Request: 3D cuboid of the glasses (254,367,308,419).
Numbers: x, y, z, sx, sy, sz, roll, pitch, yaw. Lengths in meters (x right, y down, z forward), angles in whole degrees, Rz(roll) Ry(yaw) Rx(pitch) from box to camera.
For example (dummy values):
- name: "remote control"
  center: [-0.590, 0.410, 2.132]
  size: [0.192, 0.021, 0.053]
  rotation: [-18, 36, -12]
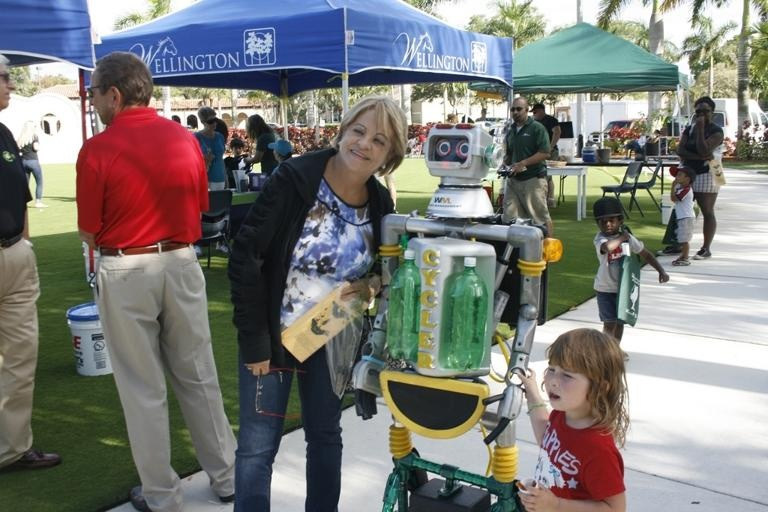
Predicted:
- name: "glasses"
  center: [-0.550, 0.724, 3.309]
  size: [0.223, 0.071, 0.240]
  rotation: [-1, 28, 7]

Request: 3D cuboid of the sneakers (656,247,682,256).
- name: "sneakers"
  center: [4.306, -0.080, 9.639]
  size: [0.358, 0.177, 0.140]
  rotation: [3, 9, 13]

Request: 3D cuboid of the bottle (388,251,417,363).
- name: "bottle"
  center: [0.077, 0.252, 3.216]
  size: [0.103, 0.589, 0.271]
  rotation: [-8, 12, -35]

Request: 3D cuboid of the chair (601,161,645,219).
- name: "chair"
  center: [4.947, -1.415, 13.285]
  size: [0.745, 1.124, 0.879]
  rotation: [-4, 12, -11]

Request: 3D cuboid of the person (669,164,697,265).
- name: "person"
  center: [4.224, -0.559, 9.008]
  size: [0.295, 1.349, 0.466]
  rotation: [4, 10, 26]

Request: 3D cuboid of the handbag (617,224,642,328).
- name: "handbag"
  center: [2.072, 0.233, 5.385]
  size: [0.172, 0.789, 0.390]
  rotation: [3, 10, 20]

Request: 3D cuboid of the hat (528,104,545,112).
- name: "hat"
  center: [2.918, -2.802, 12.136]
  size: [0.285, 0.165, 0.224]
  rotation: [15, 15, 26]

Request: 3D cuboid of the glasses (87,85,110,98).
- name: "glasses"
  center: [-1.746, -0.992, 3.862]
  size: [0.074, 0.065, 0.267]
  rotation: [-10, 14, -39]

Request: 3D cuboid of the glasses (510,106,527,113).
- name: "glasses"
  center: [2.005, -2.181, 9.537]
  size: [0.271, 0.092, 0.231]
  rotation: [6, 13, 33]

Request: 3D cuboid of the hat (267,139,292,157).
- name: "hat"
  center: [-1.519, -1.547, 9.196]
  size: [0.248, 0.199, 0.372]
  rotation: [-25, 46, -32]

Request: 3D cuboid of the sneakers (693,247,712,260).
- name: "sneakers"
  center: [4.690, -0.019, 9.319]
  size: [0.339, 0.173, 0.122]
  rotation: [-2, 5, 17]

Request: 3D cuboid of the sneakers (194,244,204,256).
- name: "sneakers"
  center: [-2.552, -0.081, 8.730]
  size: [0.161, 0.078, 0.097]
  rotation: [45, 20, 25]

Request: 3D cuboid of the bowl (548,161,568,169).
- name: "bowl"
  center: [3.549, -1.861, 13.098]
  size: [0.250, 0.105, 0.253]
  rotation: [-1, 9, 0]

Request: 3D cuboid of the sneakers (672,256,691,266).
- name: "sneakers"
  center: [4.204, 0.075, 8.978]
  size: [0.208, 0.101, 0.124]
  rotation: [3, 5, 13]

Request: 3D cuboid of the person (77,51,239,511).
- name: "person"
  center: [-1.420, 0.190, 3.946]
  size: [0.800, 2.811, 0.479]
  rotation: [-5, 10, -25]

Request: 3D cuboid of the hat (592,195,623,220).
- name: "hat"
  center: [1.936, -0.419, 5.476]
  size: [0.179, 0.154, 0.251]
  rotation: [2, 10, 27]
